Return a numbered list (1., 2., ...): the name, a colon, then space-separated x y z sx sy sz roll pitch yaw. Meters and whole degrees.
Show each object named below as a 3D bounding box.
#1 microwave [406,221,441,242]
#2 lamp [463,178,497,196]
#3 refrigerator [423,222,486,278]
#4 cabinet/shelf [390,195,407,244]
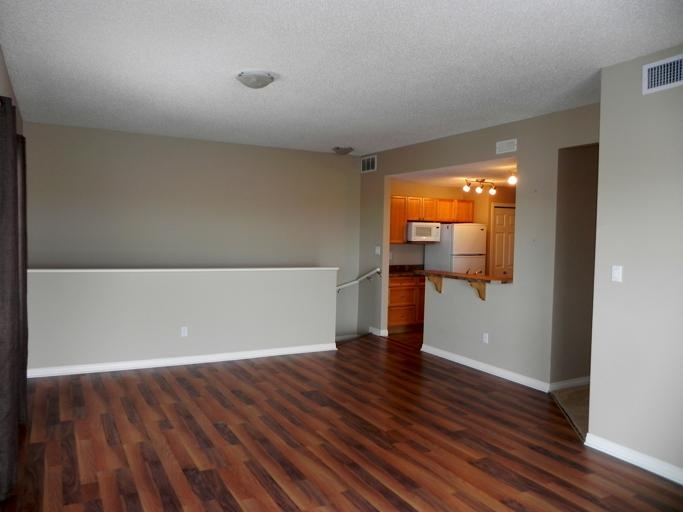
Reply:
1. microwave: 1.532 -0.427 8.553 0.616 0.401 0.356 0 1 -29
2. lamp: 2.523 -1.273 8.558 0.466 0.184 0.503 2 0 -1
3. refrigerator: 2.271 0.118 8.990 0.896 1.434 0.889 1 2 -3
4. cabinet/shelf: 1.016 -0.652 8.437 0.412 0.826 0.150 -5 9 -42
